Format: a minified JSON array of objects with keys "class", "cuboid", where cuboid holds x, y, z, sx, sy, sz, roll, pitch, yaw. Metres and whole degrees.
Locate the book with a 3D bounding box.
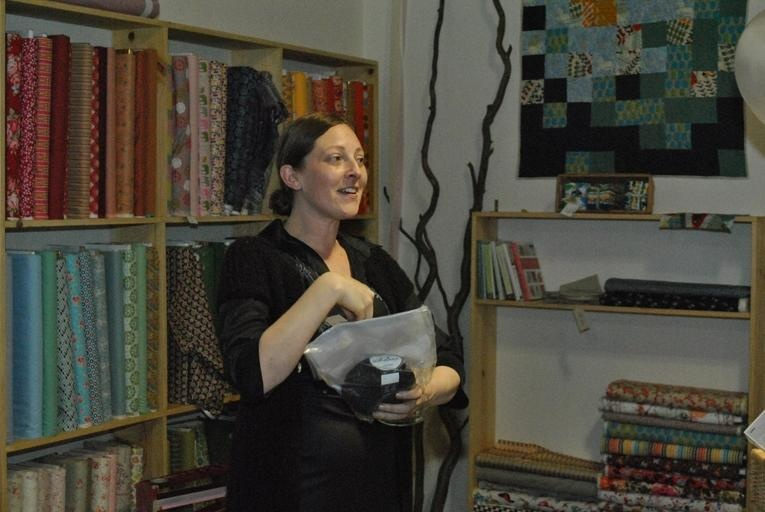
[{"class":"book","cuboid":[0.720,0.088,3.942,0.388,0.315,0.216,-1,6,-24]}]
